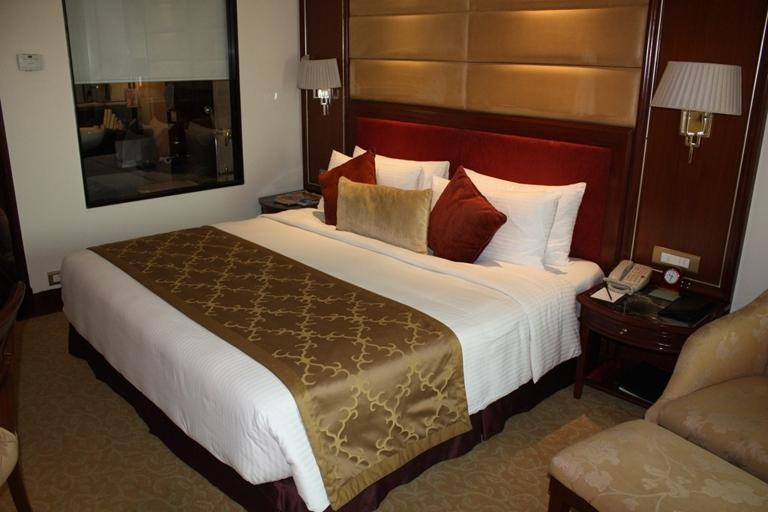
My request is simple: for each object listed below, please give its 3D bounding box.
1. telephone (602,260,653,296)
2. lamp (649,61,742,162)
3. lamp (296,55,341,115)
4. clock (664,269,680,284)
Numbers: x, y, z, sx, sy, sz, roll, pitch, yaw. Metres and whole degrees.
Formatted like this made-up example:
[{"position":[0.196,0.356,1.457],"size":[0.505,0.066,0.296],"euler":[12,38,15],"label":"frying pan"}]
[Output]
[{"position":[1.759,0.154,4.019],"size":[0.256,0.123,0.337],"euler":[8,29,37],"label":"telephone"},{"position":[1.940,-0.984,3.746],"size":[0.524,0.695,0.547],"euler":[5,21,12],"label":"lamp"},{"position":[-0.606,-1.688,5.605],"size":[0.425,0.539,0.504],"euler":[4,21,13],"label":"lamp"},{"position":[2.036,0.151,3.953],"size":[0.014,0.084,0.081],"euler":[7,13,-47],"label":"clock"}]
